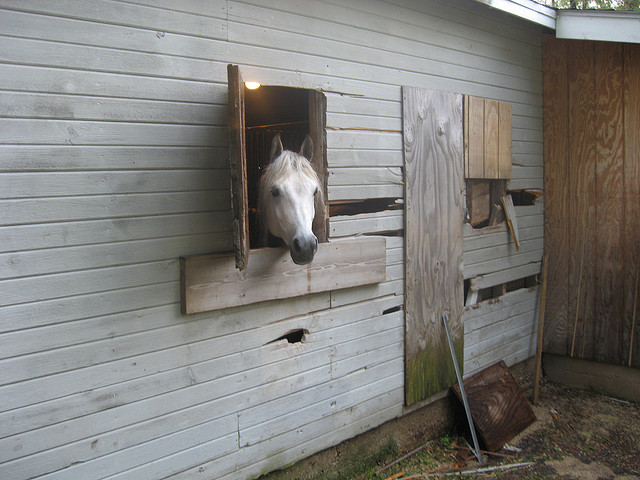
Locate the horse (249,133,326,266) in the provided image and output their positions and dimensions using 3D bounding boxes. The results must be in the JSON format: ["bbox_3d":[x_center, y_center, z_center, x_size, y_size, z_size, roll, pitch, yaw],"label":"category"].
[{"bbox_3d":[-0.209,-0.305,2.997,0.477,0.854,0.783,-8,14,-24],"label":"horse"}]
